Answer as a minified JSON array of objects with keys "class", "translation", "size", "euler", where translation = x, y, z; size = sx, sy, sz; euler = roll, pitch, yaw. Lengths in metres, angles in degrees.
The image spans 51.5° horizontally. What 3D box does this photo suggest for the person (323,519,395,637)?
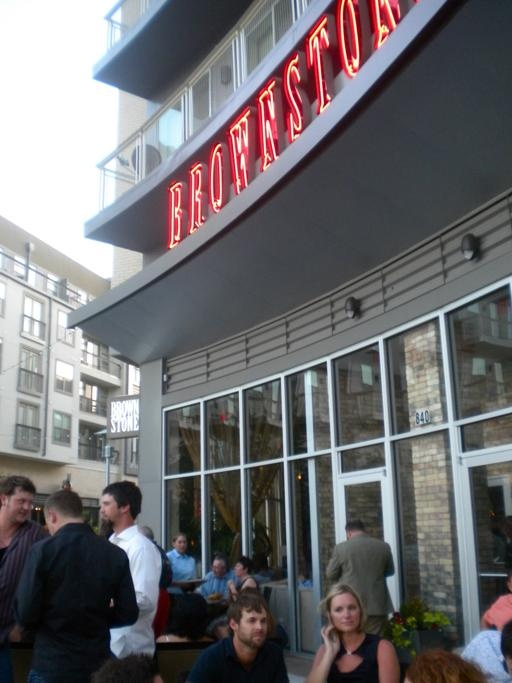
[{"class":"person","translation":[1.147,2.706,5.713],"size":[0.600,1.640,0.497],"euler":[-3,-1,5]}]
